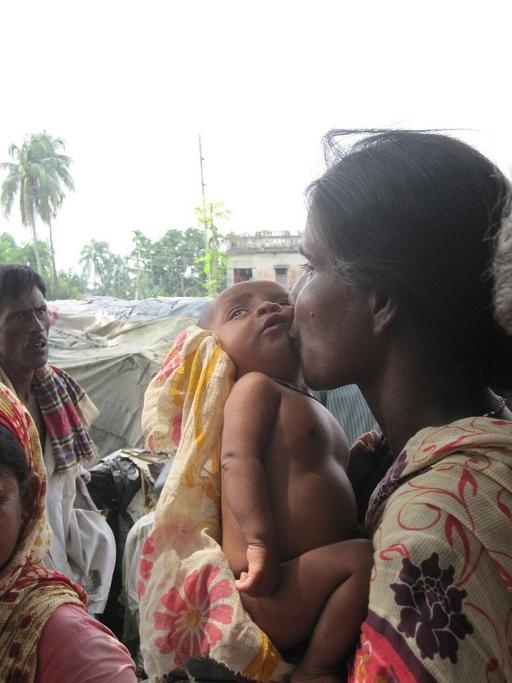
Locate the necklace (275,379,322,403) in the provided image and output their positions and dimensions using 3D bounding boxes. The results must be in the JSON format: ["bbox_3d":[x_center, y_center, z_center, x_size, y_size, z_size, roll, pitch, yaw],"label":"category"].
[{"bbox_3d":[0.089,0.107,1.299,0.065,0.024,0.046,28,-1,-13],"label":"necklace"}]
